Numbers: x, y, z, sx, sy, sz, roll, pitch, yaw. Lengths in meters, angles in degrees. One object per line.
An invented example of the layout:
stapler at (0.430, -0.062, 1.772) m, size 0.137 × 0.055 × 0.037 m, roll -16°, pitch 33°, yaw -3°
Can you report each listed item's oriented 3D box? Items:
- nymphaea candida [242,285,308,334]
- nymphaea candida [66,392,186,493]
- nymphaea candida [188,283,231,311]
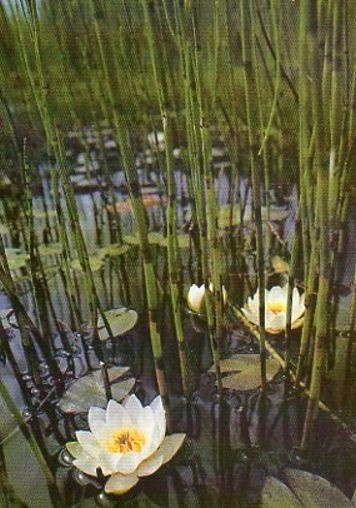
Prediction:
nymphaea candida at (0.169, 0.094, 0.798) m, size 0.074 × 0.041 × 0.087 m, roll -7°, pitch 26°, yaw 16°
nymphaea candida at (-0.083, 0.314, 0.771) m, size 0.192 × 0.089 × 0.200 m, roll -5°, pitch 10°, yaw 39°
nymphaea candida at (0.046, 0.068, 0.813) m, size 0.046 × 0.057 × 0.019 m, roll 7°, pitch 1°, yaw 3°
